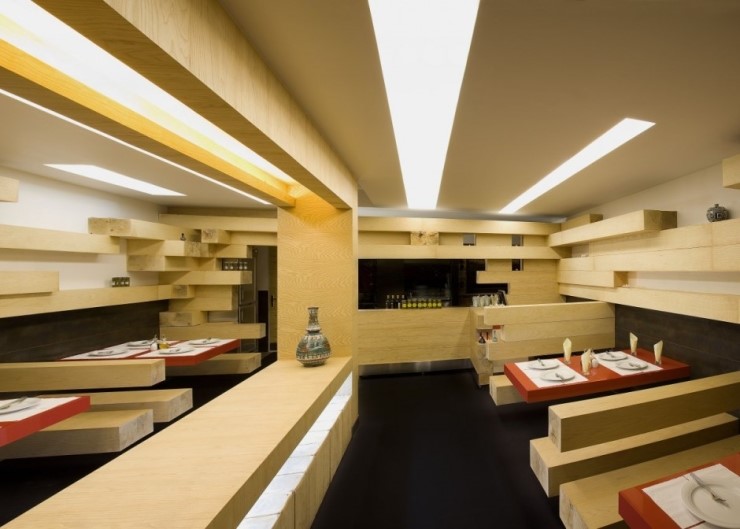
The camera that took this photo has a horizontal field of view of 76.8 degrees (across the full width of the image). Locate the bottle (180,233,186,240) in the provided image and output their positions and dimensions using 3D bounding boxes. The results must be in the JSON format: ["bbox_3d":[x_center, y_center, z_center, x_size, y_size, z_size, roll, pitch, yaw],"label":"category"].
[{"bbox_3d":[-2.564,-0.388,6.405,0.062,0.108,0.131,-1,-1,-11],"label":"bottle"}]

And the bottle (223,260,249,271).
[{"bbox_3d":[-1.960,-0.003,6.935,0.165,0.154,0.475,-1,-1,28],"label":"bottle"}]

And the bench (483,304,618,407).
[{"bbox_3d":[2.351,1.047,6.083,1.965,1.059,0.895,-3,7,-9],"label":"bench"}]

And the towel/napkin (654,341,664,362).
[{"bbox_3d":[3.192,0.965,5.162,0.249,0.239,0.038,1,-1,-38],"label":"towel/napkin"}]

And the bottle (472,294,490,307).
[{"bbox_3d":[1.624,0.530,6.774,0.268,0.179,0.207,-1,-1,1],"label":"bottle"}]

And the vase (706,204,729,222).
[{"bbox_3d":[3.495,-0.531,4.719,0.214,0.195,0.231,-2,-1,44],"label":"vase"}]
